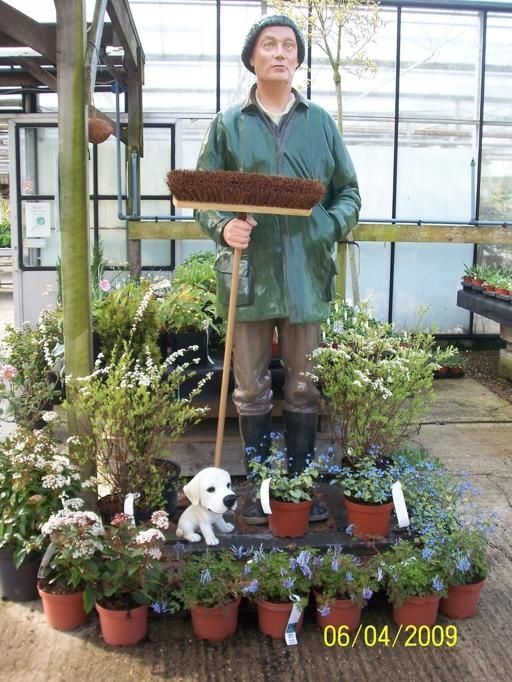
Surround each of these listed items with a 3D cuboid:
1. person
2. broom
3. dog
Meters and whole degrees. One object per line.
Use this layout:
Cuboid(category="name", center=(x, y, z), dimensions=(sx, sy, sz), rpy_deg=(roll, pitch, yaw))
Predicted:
Cuboid(category="person", center=(0.059, -0.233, 2.194), dimensions=(0.575, 1.715, 0.555), rpy_deg=(0, 5, -2))
Cuboid(category="broom", center=(-0.042, 0.143, 1.926), dimensions=(0.445, 1.309, 0.302), rpy_deg=(0, 8, -2))
Cuboid(category="dog", center=(-0.156, 0.534, 1.862), dimensions=(0.188, 0.187, 0.297), rpy_deg=(-3, 18, -25))
